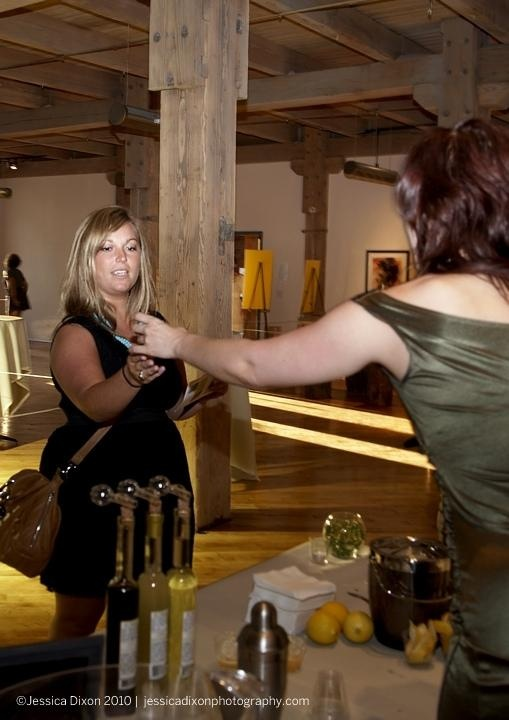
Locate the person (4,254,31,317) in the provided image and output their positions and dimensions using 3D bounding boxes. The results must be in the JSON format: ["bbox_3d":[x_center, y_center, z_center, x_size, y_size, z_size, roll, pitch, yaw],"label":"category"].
[{"bbox_3d":[-4.270,-1.340,10.246,0.477,1.018,0.341,11,-5,-30],"label":"person"}]

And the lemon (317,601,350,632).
[{"bbox_3d":[0.155,0.509,1.135,0.047,0.052,0.045,-6,-7,4],"label":"lemon"}]

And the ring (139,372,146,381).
[{"bbox_3d":[-0.296,0.044,1.499,0.009,0.023,0.018,-5,6,10],"label":"ring"}]

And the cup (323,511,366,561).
[{"bbox_3d":[0.253,0.517,1.712,0.122,0.110,0.123,-2,1,0],"label":"cup"}]

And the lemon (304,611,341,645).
[{"bbox_3d":[0.131,0.518,1.095,0.049,0.047,0.063,13,-5,-40],"label":"lemon"}]
